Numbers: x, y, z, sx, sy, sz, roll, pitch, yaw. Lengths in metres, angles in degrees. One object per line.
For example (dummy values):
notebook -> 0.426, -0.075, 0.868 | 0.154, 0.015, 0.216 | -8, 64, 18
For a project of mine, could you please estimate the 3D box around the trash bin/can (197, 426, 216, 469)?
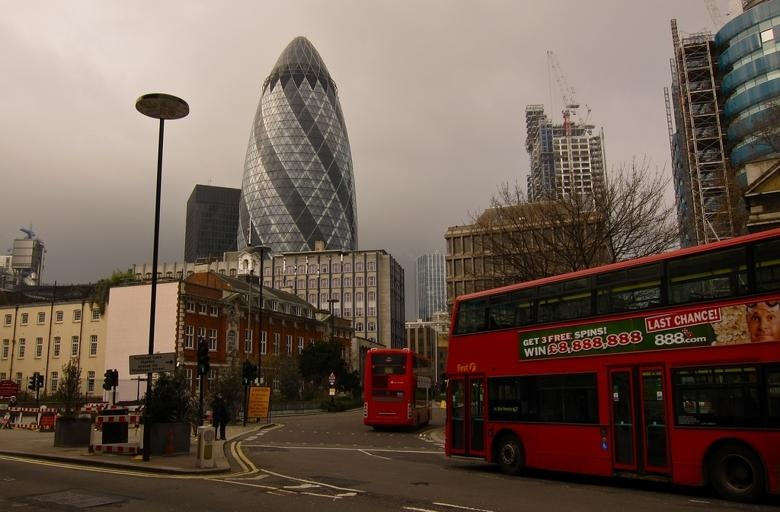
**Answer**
trash bin/can -> -7.326, 7.723, 31.607 | 0.743, 1.583, 0.750 | 1, -9, -8
